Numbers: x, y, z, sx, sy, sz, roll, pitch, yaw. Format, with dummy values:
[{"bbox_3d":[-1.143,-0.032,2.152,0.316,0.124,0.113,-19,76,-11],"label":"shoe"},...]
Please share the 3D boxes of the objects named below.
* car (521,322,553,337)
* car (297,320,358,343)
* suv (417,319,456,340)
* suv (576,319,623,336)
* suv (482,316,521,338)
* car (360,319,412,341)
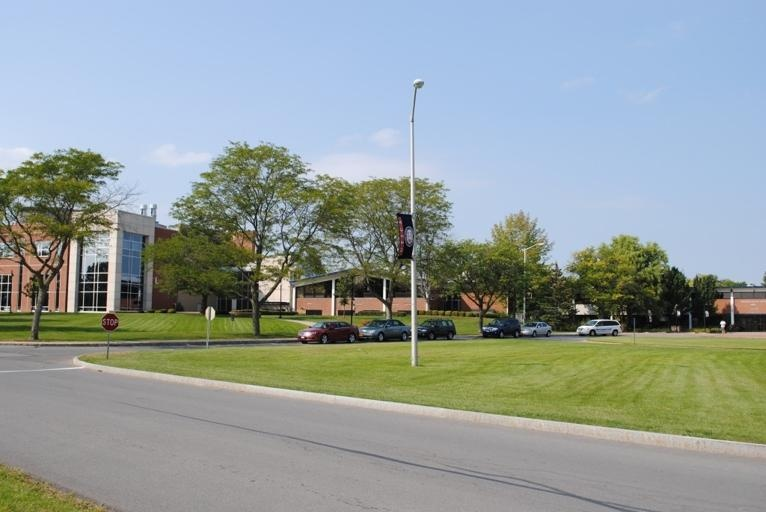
[{"bbox_3d":[13.552,6.533,62.231,1.266,0.875,2.814,-8,-12,42],"label":"car"},{"bbox_3d":[-3.664,4.962,45.782,3.501,1.073,1.576,10,-15,-43],"label":"car"},{"bbox_3d":[3.951,5.618,53.791,2.663,1.059,1.456,8,-12,-38],"label":"suv"},{"bbox_3d":[20.812,6.969,67.629,4.044,1.285,1.885,6,-10,-26],"label":"suv"},{"bbox_3d":[9.831,5.993,58.601,3.161,1.236,1.536,8,-12,-43],"label":"suv"},{"bbox_3d":[0.099,5.317,49.437,3.943,1.458,1.568,-1,2,-41],"label":"car"}]
